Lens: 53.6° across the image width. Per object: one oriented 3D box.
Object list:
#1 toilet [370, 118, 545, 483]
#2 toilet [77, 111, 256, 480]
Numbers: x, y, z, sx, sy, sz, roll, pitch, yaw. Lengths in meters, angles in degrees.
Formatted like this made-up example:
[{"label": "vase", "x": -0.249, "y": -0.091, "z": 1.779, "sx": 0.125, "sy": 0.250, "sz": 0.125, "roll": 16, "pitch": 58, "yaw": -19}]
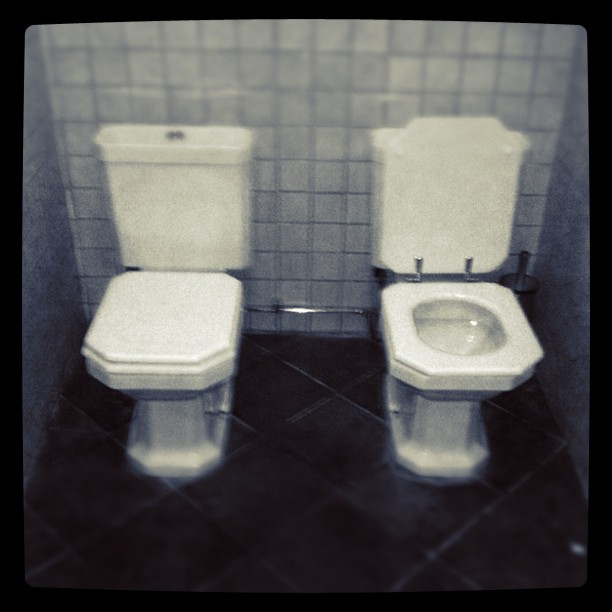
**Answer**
[{"label": "toilet", "x": 0.317, "y": -0.008, "z": 1.260, "sx": 0.315, "sy": 0.690, "sz": 0.351, "roll": -5, "pitch": 32, "yaw": -8}, {"label": "toilet", "x": -0.306, "y": -0.016, "z": 1.264, "sx": 0.352, "sy": 0.706, "sz": 0.367, "roll": 5, "pitch": 32, "yaw": 8}]
